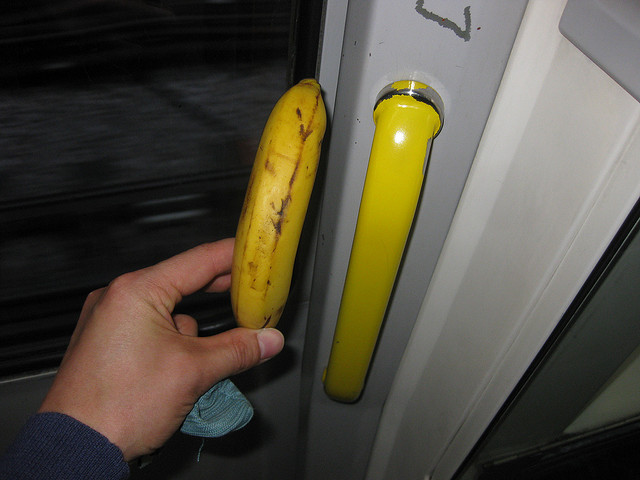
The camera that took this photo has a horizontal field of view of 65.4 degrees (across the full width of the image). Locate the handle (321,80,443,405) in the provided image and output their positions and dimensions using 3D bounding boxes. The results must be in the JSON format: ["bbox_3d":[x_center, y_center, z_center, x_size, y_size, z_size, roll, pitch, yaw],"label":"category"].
[{"bbox_3d":[0.083,0.035,0.740,0.115,0.509,0.133,12,37,14],"label":"handle"}]
